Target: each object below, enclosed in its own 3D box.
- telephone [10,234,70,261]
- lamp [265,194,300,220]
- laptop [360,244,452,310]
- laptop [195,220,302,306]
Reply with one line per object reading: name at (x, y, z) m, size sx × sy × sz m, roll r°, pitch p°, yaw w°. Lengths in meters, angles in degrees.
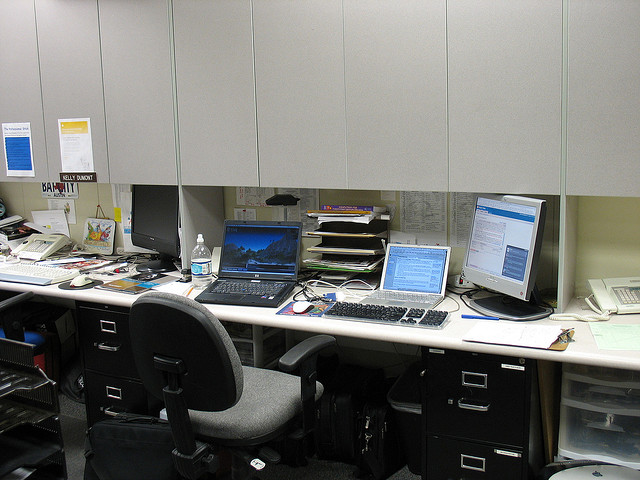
telephone at (-1.824, 0.011, 3.214) m, size 0.204 × 0.069 × 0.210 m, roll 7°, pitch 23°, yaw 21°
lamp at (-0.216, -0.183, 2.786) m, size 0.193 × 0.151 × 0.114 m, roll 3°, pitch 13°, yaw 15°
laptop at (0.451, 0.162, 2.360) m, size 0.346 × 0.206 × 0.333 m, roll 4°, pitch 9°, yaw 27°
laptop at (-0.334, 0.105, 2.476) m, size 0.494 × 0.316 × 0.425 m, roll 2°, pitch 11°, yaw 17°
